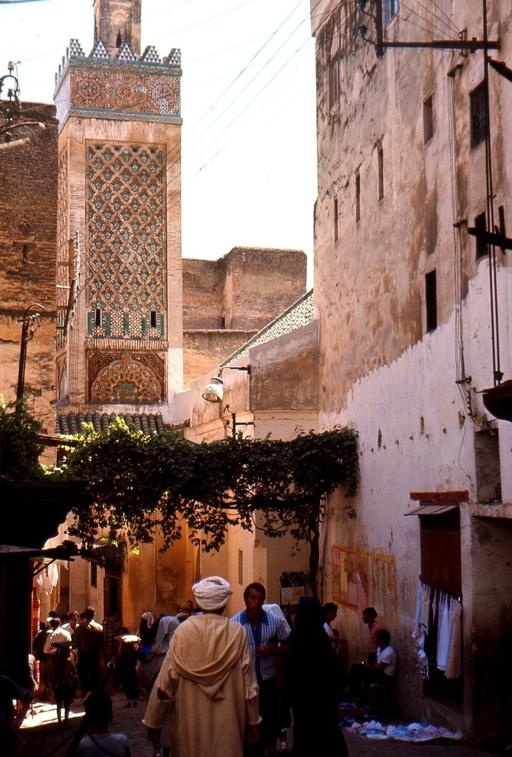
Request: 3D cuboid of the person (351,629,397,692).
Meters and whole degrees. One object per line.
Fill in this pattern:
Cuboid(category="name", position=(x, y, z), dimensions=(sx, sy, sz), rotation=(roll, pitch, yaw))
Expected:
Cuboid(category="person", position=(1.372, 3.359, 10.623), dimensions=(0.387, 0.948, 0.385), rotation=(3, -9, -2))

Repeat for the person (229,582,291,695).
Cuboid(category="person", position=(0.012, 1.780, 5.684), dimensions=(0.319, 1.132, 0.293), rotation=(-5, 19, -10))
